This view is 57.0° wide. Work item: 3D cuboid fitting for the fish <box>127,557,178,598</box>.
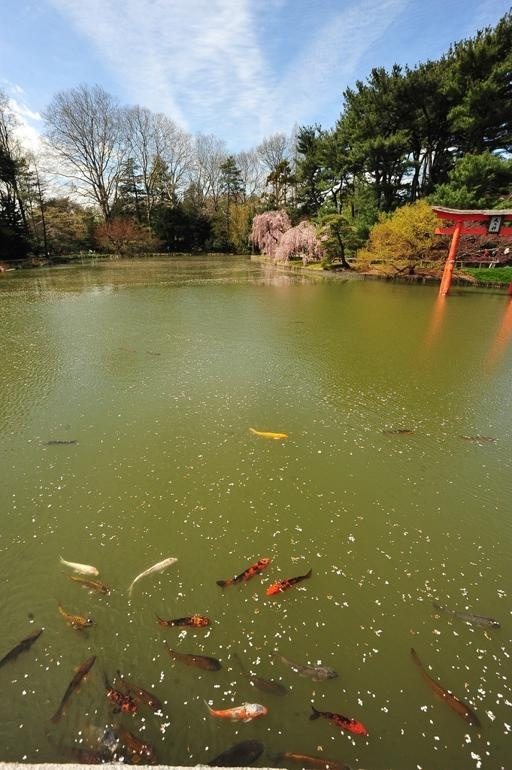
[{"bbox_3d":[-0.384,0.731,1.779,0.205,0.063,0.095,-28,-2,22],"label":"fish"}]
